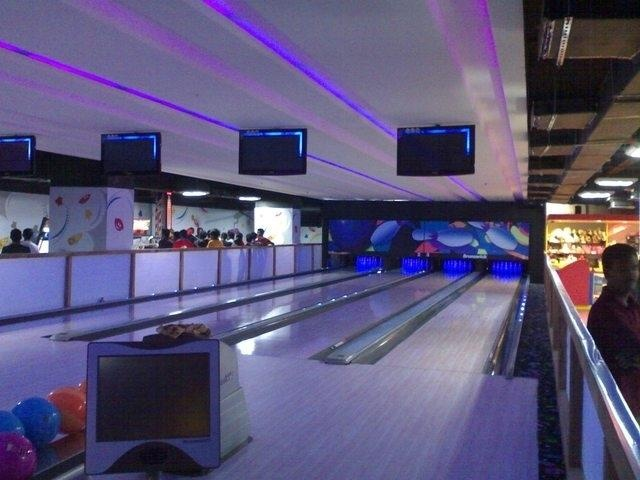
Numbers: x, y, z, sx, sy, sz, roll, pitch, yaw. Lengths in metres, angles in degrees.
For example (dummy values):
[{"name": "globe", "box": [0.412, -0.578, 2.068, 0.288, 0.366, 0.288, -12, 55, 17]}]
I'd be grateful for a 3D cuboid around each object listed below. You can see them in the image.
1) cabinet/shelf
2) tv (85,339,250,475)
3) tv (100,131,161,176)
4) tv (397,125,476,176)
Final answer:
[{"name": "cabinet/shelf", "box": [5.252, 0.064, 9.173, 0.751, 1.055, 1.043, -6, 4, -44]}, {"name": "tv", "box": [-0.719, 0.731, 2.251, 0.547, 0.517, 0.766, -2, -6, -1]}, {"name": "tv", "box": [-2.102, -0.949, 5.057, 0.467, 0.367, 0.050, -1, -6, 9]}, {"name": "tv", "box": [1.146, -0.866, 4.464, 0.485, 0.350, 0.051, -1, -7, 17]}]
